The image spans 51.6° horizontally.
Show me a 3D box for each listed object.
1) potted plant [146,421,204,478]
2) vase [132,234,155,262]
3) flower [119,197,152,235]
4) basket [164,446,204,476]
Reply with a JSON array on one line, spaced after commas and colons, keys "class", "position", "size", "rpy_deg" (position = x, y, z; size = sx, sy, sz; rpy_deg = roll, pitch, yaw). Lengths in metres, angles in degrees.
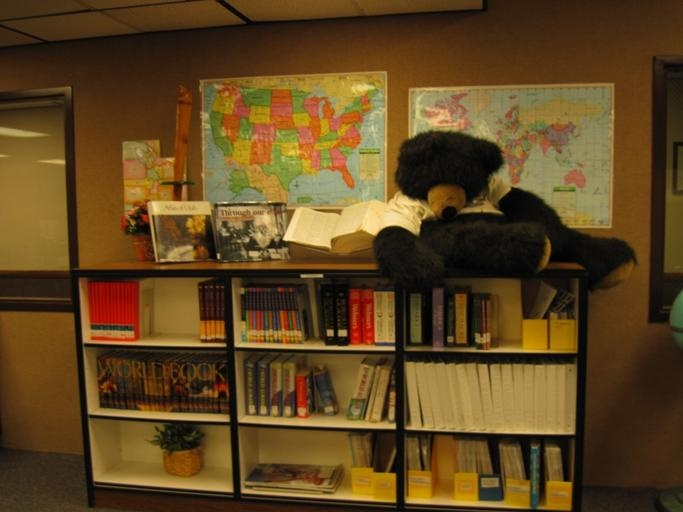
[{"class": "potted plant", "position": [-0.960, 1.170, 4.241], "size": [0.250, 0.264, 0.206], "rpy_deg": [7, -18, -12]}, {"class": "vase", "position": [-1.184, -0.040, 4.315], "size": [0.137, 0.165, 0.148], "rpy_deg": [-4, 4, -38]}, {"class": "flower", "position": [-1.218, -0.233, 4.277], "size": [0.224, 0.156, 0.224], "rpy_deg": [0, 7, -4]}, {"class": "basket", "position": [-0.948, 1.216, 4.243], "size": [0.189, 0.129, 0.154], "rpy_deg": [2, 3, 13]}]
